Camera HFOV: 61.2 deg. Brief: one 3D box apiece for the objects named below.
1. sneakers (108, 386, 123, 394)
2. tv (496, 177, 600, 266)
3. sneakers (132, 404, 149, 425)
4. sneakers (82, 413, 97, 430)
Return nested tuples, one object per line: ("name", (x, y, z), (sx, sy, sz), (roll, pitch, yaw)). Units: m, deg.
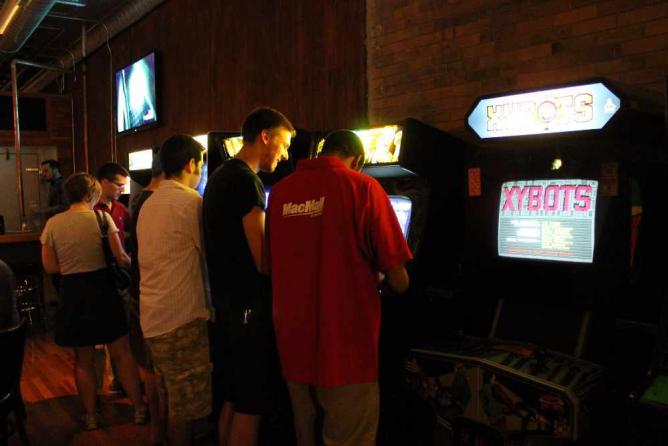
("sneakers", (-2.048, 1.553, 5.272), (0.116, 0.051, 0.053), (2, 2, -5))
("tv", (1.523, -0.007, 3.943), (0.591, 0.552, 0.195), (2, -3, 42))
("sneakers", (-1.645, 1.623, 4.778), (0.077, 0.218, 0.082), (-8, -23, 4))
("sneakers", (-2.043, 1.657, 4.722), (0.071, 0.078, 0.181), (0, 6, -25))
